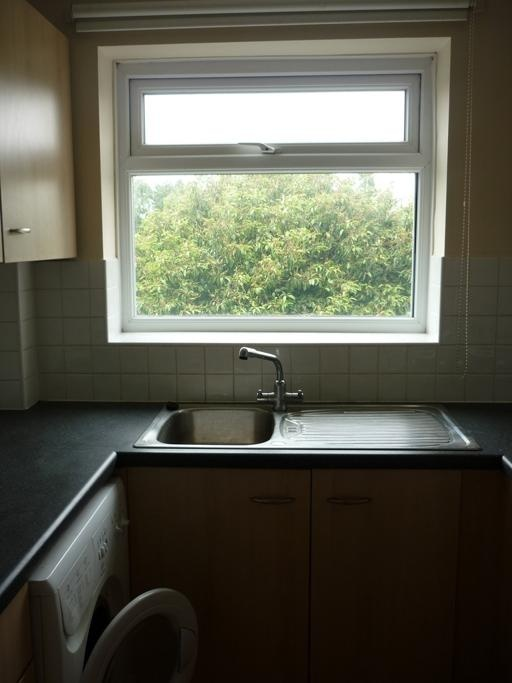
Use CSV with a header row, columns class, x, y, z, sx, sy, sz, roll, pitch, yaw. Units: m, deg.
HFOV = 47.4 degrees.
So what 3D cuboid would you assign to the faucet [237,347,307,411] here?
class,x,y,z,sx,sy,sz,roll,pitch,yaw
faucet,0.059,0.124,1.963,0.217,0.224,0.281,2,5,1
